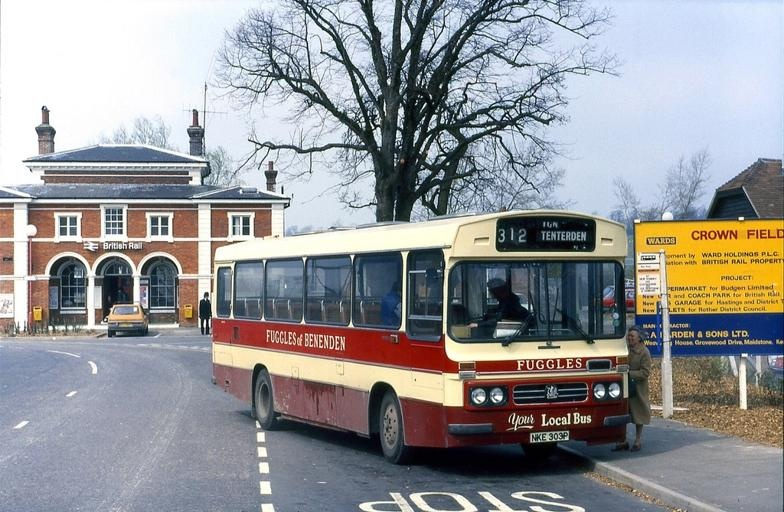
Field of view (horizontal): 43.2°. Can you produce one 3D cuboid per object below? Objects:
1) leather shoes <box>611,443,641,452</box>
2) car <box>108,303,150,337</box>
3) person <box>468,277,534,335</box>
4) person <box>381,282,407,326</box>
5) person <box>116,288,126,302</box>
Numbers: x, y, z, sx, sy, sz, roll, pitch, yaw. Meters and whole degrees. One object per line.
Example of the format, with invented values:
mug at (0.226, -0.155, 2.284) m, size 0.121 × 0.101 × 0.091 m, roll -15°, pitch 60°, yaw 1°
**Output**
leather shoes at (4.578, 3.779, 19.299) m, size 0.567 × 0.175 × 0.214 m, roll 7°, pitch -10°, yaw -21°
car at (-15.003, 3.712, 56.463) m, size 2.136 × 1.272 × 2.095 m, roll 3°, pitch -3°, yaw -16°
person at (2.014, 0.946, 18.300) m, size 0.945 × 1.067 × 0.371 m, roll 0°, pitch -6°, yaw -8°
person at (0.087, 0.979, 19.334) m, size 0.208 × 0.739 × 0.574 m, roll 5°, pitch -12°, yaw -32°
person at (-17.899, 2.575, 65.436) m, size 0.685 × 0.692 × 2.443 m, roll 1°, pitch -5°, yaw -21°
